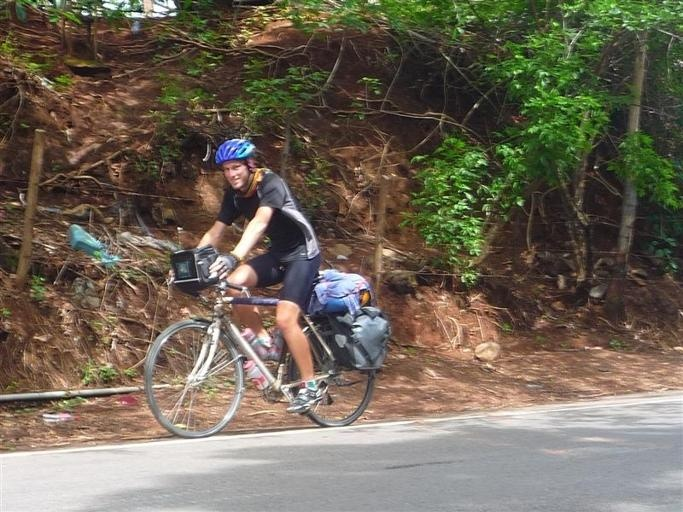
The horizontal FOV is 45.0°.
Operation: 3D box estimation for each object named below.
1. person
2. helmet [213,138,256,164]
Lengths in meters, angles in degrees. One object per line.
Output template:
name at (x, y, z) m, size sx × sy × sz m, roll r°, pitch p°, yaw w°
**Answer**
person at (-0.865, 0.233, 9.098) m, size 1.424 × 3.024 × 0.769 m, roll 3°, pitch 9°, yaw -7°
helmet at (-1.132, -1.169, 9.027) m, size 0.455 × 0.173 × 0.418 m, roll -5°, pitch 5°, yaw 12°
